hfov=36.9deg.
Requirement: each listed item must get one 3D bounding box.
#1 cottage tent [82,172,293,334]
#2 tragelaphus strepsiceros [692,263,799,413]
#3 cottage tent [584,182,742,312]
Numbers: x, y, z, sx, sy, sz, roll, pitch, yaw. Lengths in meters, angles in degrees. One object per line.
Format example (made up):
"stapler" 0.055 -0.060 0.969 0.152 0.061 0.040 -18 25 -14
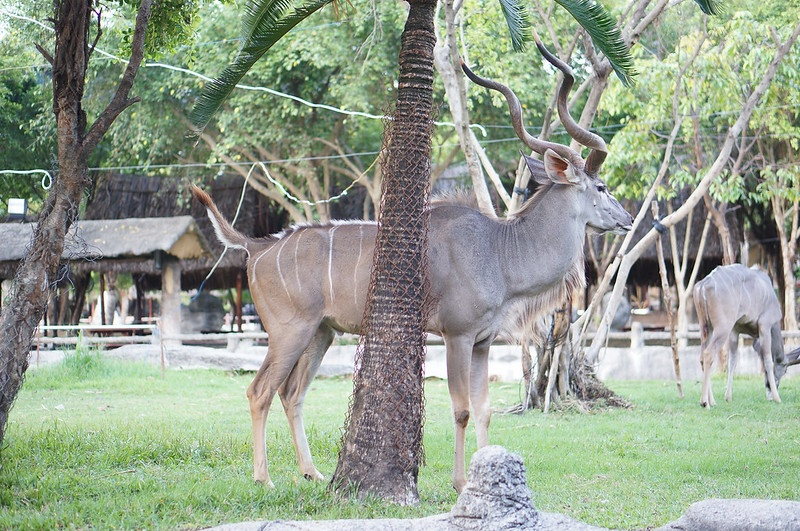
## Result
"cottage tent" -6.211 0.599 35.808 5.850 4.986 4.038 2 4 6
"tragelaphus strepsiceros" 6.560 1.362 23.096 2.525 2.903 1.179 7 -9 -30
"cottage tent" 7.761 -0.393 33.770 4.312 2.024 3.469 -6 4 8
